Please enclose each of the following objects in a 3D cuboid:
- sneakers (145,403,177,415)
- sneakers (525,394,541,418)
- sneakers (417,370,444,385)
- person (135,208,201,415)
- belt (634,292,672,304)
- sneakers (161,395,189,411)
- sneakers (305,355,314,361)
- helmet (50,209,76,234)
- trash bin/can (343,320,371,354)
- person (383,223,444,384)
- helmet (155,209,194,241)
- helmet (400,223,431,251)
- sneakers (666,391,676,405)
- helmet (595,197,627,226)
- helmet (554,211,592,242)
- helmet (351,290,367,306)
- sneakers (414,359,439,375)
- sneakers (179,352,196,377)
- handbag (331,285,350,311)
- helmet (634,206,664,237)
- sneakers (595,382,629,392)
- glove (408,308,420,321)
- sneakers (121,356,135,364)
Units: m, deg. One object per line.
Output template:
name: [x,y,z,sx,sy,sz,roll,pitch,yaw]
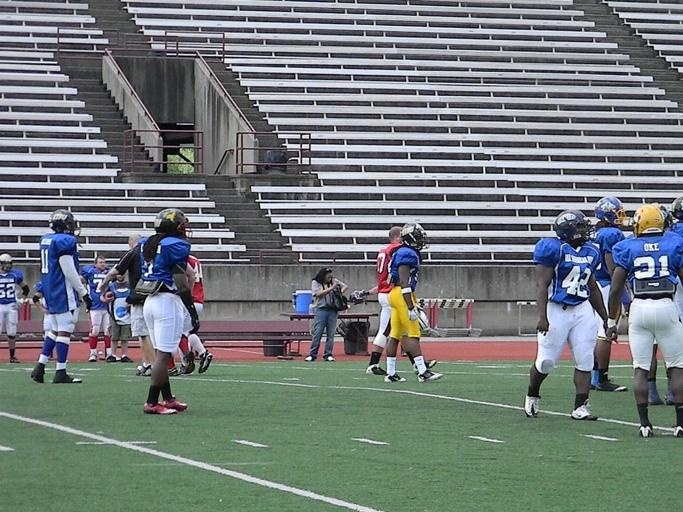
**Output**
sneakers: [-3.016,2.571,25.526,0.517,0.187,0.195,1,-4,-4]
sneakers: [3.257,2.558,25.645,0.169,0.422,0.183,1,-21,-5]
sneakers: [1.680,2.259,28.693,0.550,0.185,0.260,-6,-27,-2]
person: [-3.001,0.940,25.598,0.855,3.445,0.564,3,-5,-6]
belt: [5.086,0.670,24.580,0.614,0.106,0.201,2,-5,2]
sneakers: [-2.841,2.507,25.750,0.568,0.249,0.181,3,7,-10]
sneakers: [-0.651,2.215,32.865,0.124,0.084,0.205,-1,-8,-1]
helmet: [-5.168,-0.642,28.363,0.379,0.442,0.497,8,10,39]
trash bin/can: [0.385,1.843,34.520,0.727,0.977,0.728,2,5,9]
person: [1.319,0.891,28.670,0.864,3.008,1.078,3,-5,1]
helmet: [-2.838,-0.531,25.858,0.603,0.469,0.478,-4,10,-32]
helmet: [1.436,-0.357,28.729,0.579,0.519,0.472,-3,9,-6]
sneakers: [5.855,2.511,26.778,0.199,0.238,0.567,3,6,14]
helmet: [5.085,-0.827,28.319,0.574,0.484,0.463,-1,3,-2]
helmet: [3.948,-0.508,25.508,0.630,0.482,0.445,-2,5,11]
helmet: [0.394,0.836,31.800,0.291,0.137,0.401,-20,-17,17]
sneakers: [1.645,2.147,29.133,0.571,0.249,0.181,-17,29,-3]
sneakers: [-2.977,2.114,29.681,0.183,0.516,0.223,11,38,-13]
handbag: [0.012,0.923,32.320,0.319,0.472,0.413,1,-5,21]
helmet: [5.068,-0.586,24.917,0.424,0.443,0.541,1,3,7]
sneakers: [5.052,2.424,28.137,0.595,0.201,0.205,-1,-2,3]
glove: [1.404,1.093,28.442,0.180,0.204,0.222,5,-1,-19]
sneakers: [-4.566,2.224,32.466,0.242,0.095,0.126,-1,-3,34]
